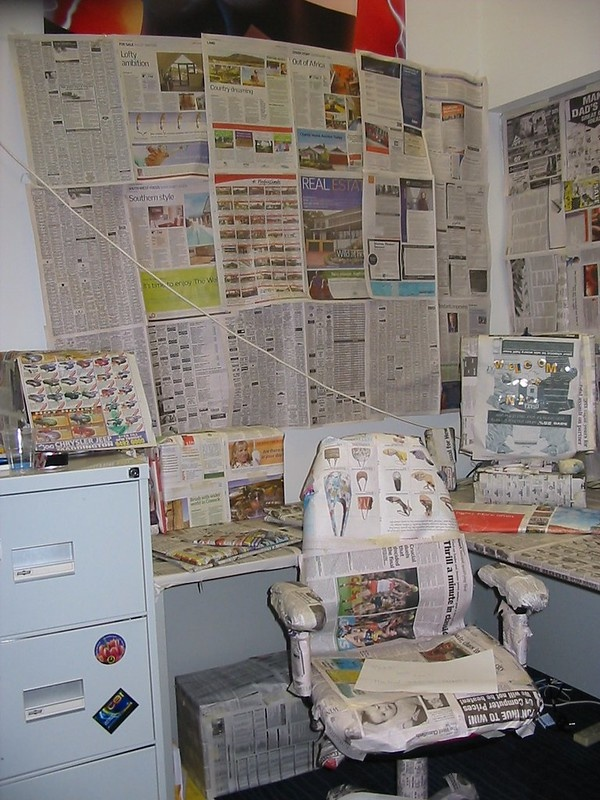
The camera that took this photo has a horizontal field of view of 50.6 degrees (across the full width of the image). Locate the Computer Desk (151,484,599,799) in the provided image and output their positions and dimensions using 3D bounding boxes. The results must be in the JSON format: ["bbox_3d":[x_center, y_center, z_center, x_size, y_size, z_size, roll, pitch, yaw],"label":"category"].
[{"bbox_3d":[0.127,0.646,1.938,1.442,0.736,0.690,-1,-4,-20],"label":"Computer Desk"}]

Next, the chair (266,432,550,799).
[{"bbox_3d":[0.219,0.397,1.402,0.528,0.568,0.524,-7,10,-12],"label":"chair"}]
